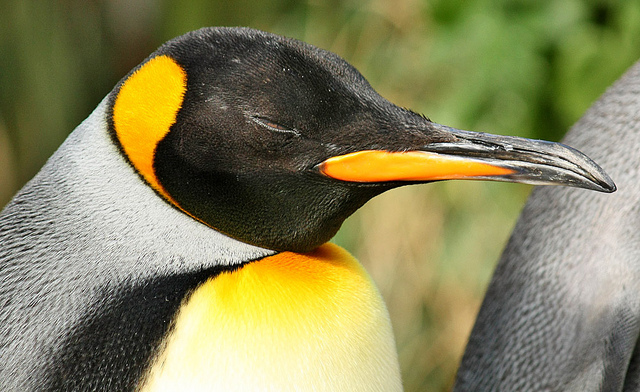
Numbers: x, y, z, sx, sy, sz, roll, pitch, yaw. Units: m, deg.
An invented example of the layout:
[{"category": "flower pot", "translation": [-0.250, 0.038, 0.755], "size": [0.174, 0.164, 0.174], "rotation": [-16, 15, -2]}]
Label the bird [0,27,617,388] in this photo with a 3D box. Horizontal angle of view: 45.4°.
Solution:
[{"category": "bird", "translation": [-0.083, -0.009, 1.836], "size": [1.353, 0.672, 0.880], "rotation": [7, 16, 10]}]
